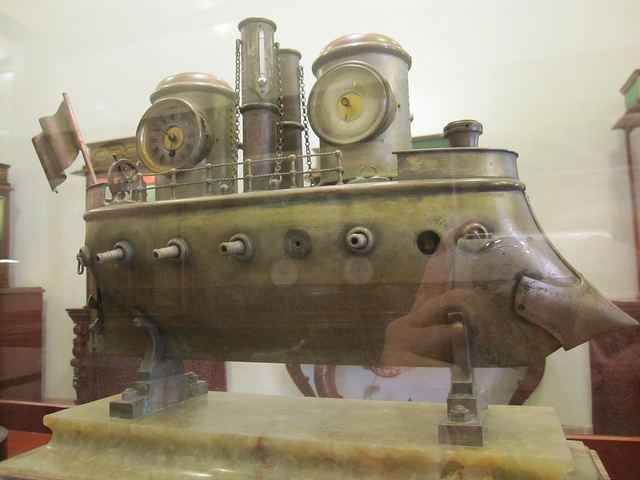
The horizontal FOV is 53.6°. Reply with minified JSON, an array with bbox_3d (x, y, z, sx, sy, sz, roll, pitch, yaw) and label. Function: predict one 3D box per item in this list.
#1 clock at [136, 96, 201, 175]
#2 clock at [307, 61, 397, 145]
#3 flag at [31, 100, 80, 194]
[{"bbox_3d":[-1.342,-0.924,5.634,0.594,0.669,0.204,2,15,26],"label":"clock"},{"bbox_3d":[0.261,-1.107,5.164,0.703,0.716,0.225,2,-2,23],"label":"clock"},{"bbox_3d":[-2.437,-0.858,5.887,0.536,0.840,0.153,2,15,24],"label":"flag"}]
